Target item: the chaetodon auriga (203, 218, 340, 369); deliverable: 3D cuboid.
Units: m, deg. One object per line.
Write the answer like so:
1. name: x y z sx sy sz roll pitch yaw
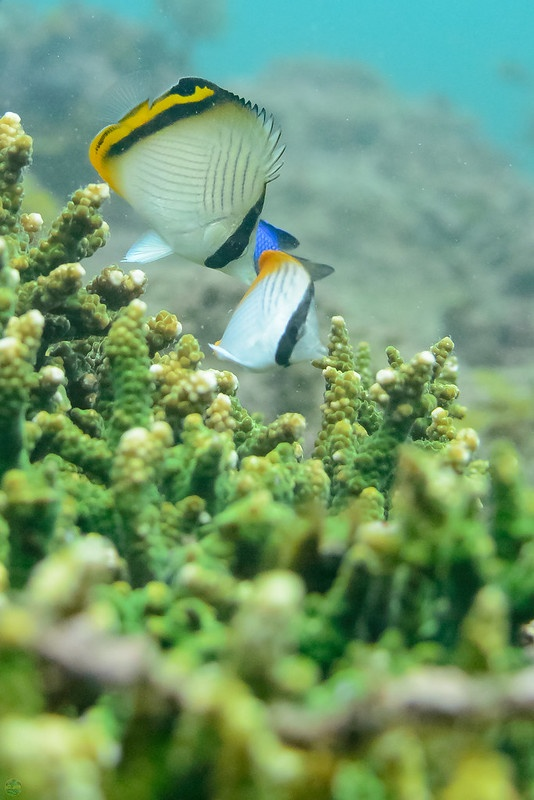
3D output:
1. chaetodon auriga: 0.025 -0.181 1.697 0.208 0.227 0.198 15 21 6
